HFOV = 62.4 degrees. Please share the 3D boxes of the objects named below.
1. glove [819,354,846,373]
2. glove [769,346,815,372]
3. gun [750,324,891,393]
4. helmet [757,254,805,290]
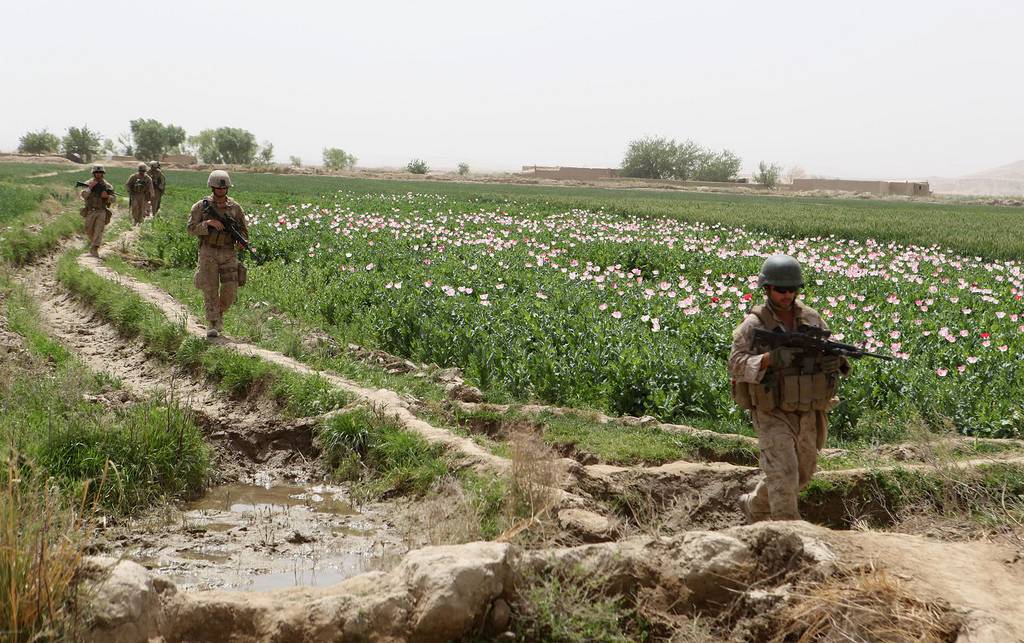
[{"bbox_3d":[3.469,0.461,9.100,0.203,0.111,0.256,6,-3,-10],"label":"glove"},{"bbox_3d":[3.041,0.418,9.115,0.493,0.259,0.135,0,8,-17],"label":"glove"},{"bbox_3d":[3.321,0.346,9.143,1.381,0.604,0.226,10,38,21],"label":"gun"},{"bbox_3d":[2.961,-0.535,9.407,0.390,0.283,0.414,-1,8,-5],"label":"helmet"}]
